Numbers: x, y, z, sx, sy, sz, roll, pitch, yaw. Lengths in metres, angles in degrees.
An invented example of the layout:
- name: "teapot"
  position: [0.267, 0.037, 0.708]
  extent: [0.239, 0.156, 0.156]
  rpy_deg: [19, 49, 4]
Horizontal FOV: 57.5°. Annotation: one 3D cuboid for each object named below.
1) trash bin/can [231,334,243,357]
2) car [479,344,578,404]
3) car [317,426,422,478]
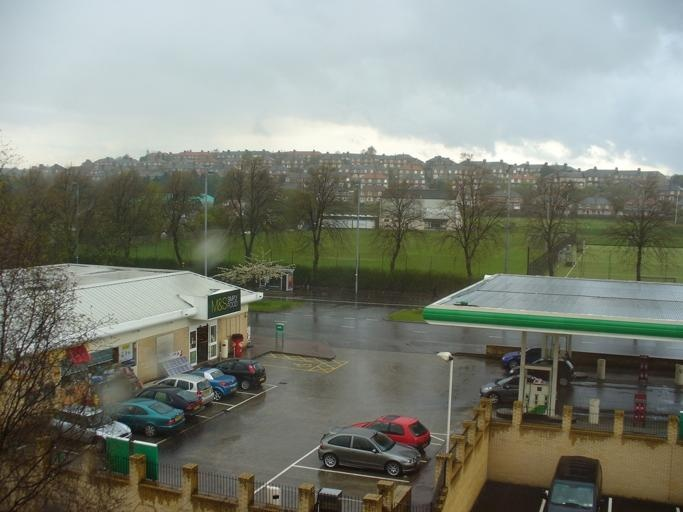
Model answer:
- name: "trash bin/can"
  position: [-6.342, 5.302, 37.368]
  extent: [0.701, 1.277, 1.492]
  rpy_deg: [-1, 5, -11]
- name: "car"
  position: [9.295, 6.113, 31.011]
  extent: [4.453, 2.275, 2.957]
  rpy_deg: [0, 1, -3]
- name: "car"
  position: [1.032, 7.277, 23.428]
  extent: [3.442, 1.339, 1.636]
  rpy_deg: [1, 10, 13]
